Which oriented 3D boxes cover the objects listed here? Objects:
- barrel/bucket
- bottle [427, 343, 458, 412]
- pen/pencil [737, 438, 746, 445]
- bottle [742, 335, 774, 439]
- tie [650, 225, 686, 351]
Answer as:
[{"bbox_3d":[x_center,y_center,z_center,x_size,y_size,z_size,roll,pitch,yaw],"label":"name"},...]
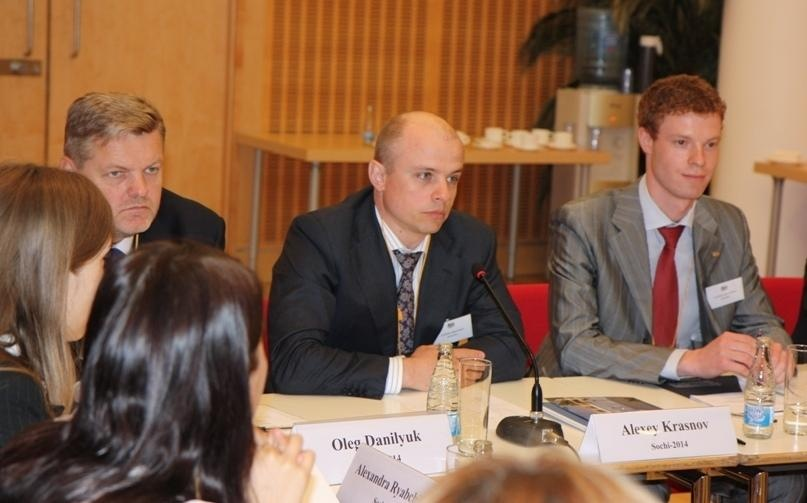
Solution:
[{"bbox_3d":[1.696,-1.738,6.275,0.420,0.666,0.215,-1,1,16],"label":"barrel/bucket"},{"bbox_3d":[0.112,0.371,2.139,0.092,0.138,0.245,-1,0,2],"label":"bottle"},{"bbox_3d":[0.997,0.558,2.160,0.023,0.011,0.033,-1,0,10],"label":"pen/pencil"},{"bbox_3d":[1.078,0.410,2.216,0.124,0.287,0.072,-2,1,-44],"label":"bottle"},{"bbox_3d":[1.048,0.133,2.899,0.104,0.469,0.203,-1,1,26],"label":"tie"}]
